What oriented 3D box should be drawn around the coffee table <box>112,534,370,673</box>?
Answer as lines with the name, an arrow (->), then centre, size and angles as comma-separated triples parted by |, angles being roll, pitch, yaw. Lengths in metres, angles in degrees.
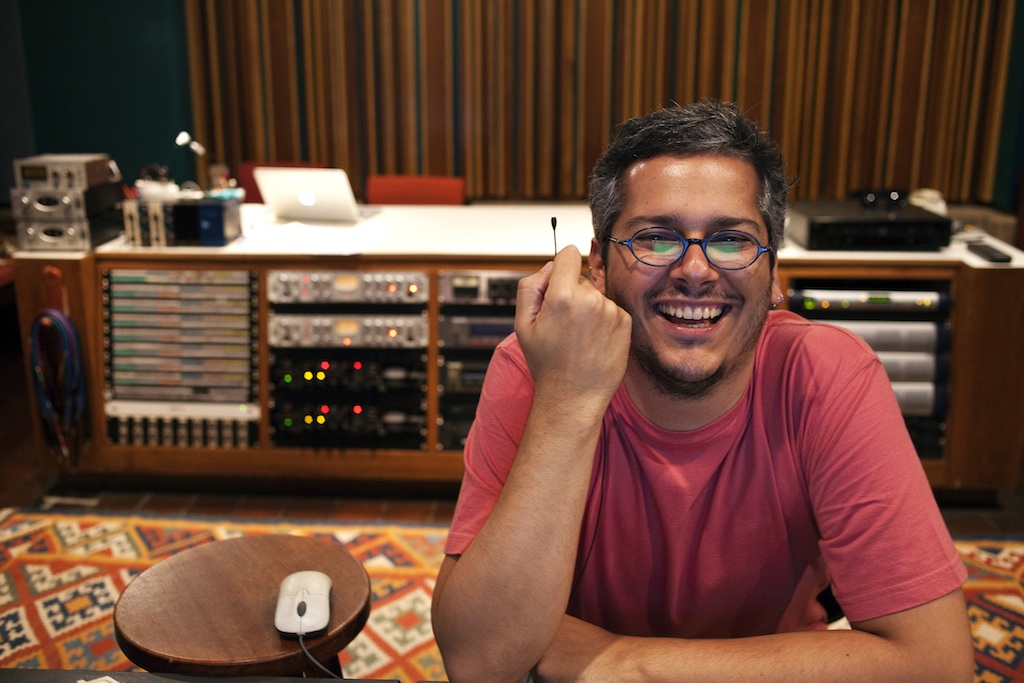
coffee table -> -0.805, 0.794, 2.737 | 0.540, 0.589, 0.530 | 1, 25, 0

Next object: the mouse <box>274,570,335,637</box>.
mouse -> -0.639, 0.791, 2.650 | 0.164, 0.061, 0.262 | 3, 22, -7
